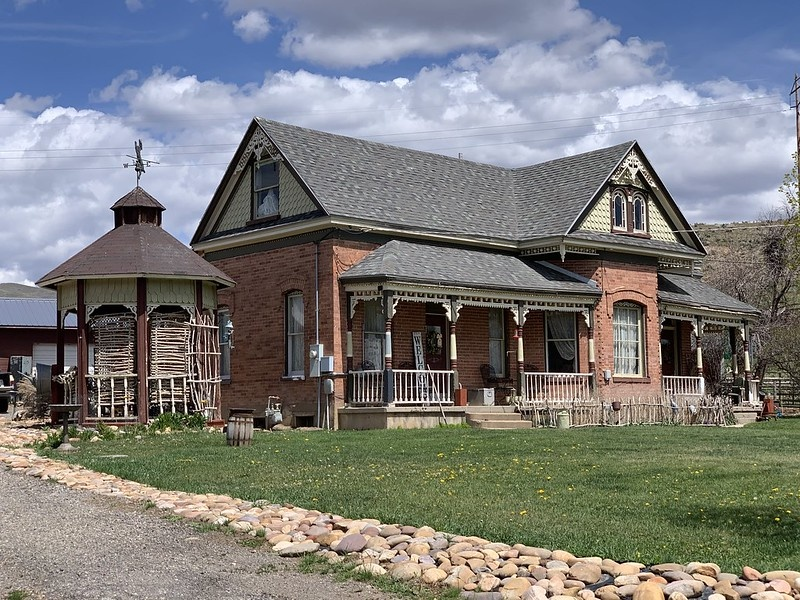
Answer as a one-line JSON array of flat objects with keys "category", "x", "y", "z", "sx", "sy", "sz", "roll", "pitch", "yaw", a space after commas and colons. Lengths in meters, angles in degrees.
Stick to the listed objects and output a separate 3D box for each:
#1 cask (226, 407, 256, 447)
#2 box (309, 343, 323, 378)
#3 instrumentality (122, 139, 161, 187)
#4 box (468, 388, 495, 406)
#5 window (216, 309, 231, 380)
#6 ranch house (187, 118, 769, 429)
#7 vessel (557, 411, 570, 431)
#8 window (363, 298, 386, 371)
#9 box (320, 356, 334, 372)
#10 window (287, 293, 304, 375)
[{"category": "cask", "x": -3.542, "y": 2.928, "z": 21.662, "sx": 0.751, "sy": 1.028, "sz": 0.739, "roll": -7, "pitch": -14, "yaw": 31}, {"category": "box", "x": -2.412, "y": 1.745, "z": 27.663, "sx": 0.356, "sy": 0.901, "sz": 0.389, "roll": -1, "pitch": -9, "yaw": -3}, {"category": "instrumentality", "x": -8.016, "y": -4.239, "z": 29.109, "sx": 0.698, "sy": 0.584, "sz": 1.053, "roll": 1, "pitch": 34, "yaw": -8}, {"category": "box", "x": 2.499, "y": 3.005, "z": 29.424, "sx": 0.534, "sy": 0.527, "sz": 1.184, "roll": 2, "pitch": -9, "yaw": -18}, {"category": "window", "x": -5.973, "y": 1.385, "z": 32.082, "sx": 0.485, "sy": 2.855, "sz": 0.592, "roll": -4, "pitch": -8, "yaw": -17}, {"category": "ranch house", "x": 2.105, "y": -0.888, "z": 32.363, "sx": 15.400, "sy": 10.169, "sz": 7.343, "roll": 3, "pitch": -10, "yaw": -27}, {"category": "vessel", "x": 4.866, "y": 3.566, "z": 28.121, "sx": 0.402, "sy": 0.409, "sz": 0.396, "roll": 2, "pitch": -8, "yaw": -11}, {"category": "window", "x": -0.806, "y": 1.026, "z": 29.393, "sx": 0.769, "sy": 2.015, "sz": 0.140, "roll": 5, "pitch": -17, "yaw": -23}, {"category": "box", "x": -2.060, "y": 1.897, "z": 27.545, "sx": 0.384, "sy": 0.687, "sz": 0.531, "roll": 2, "pitch": -5, "yaw": -19}, {"category": "window", "x": -3.251, "y": 1.090, "z": 29.439, "sx": 0.198, "sy": 2.664, "sz": 0.791, "roll": 5, "pitch": -11, "yaw": -37}]
